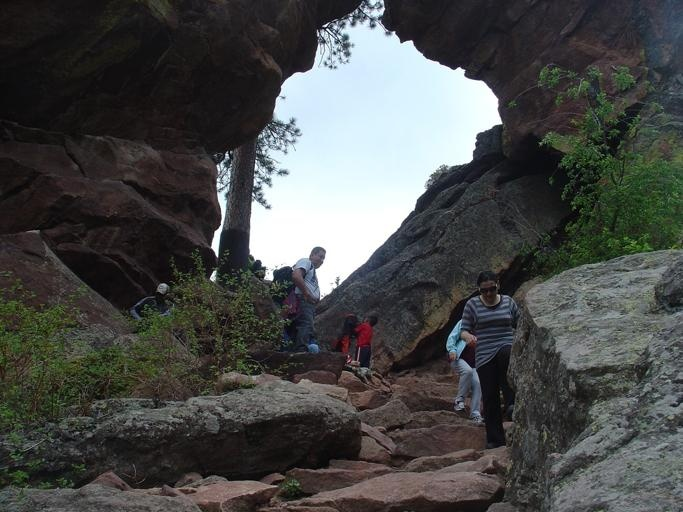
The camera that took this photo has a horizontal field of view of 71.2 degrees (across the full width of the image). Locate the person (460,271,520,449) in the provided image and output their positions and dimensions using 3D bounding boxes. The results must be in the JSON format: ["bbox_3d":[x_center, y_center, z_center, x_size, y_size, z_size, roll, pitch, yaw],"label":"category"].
[{"bbox_3d":[1.821,1.157,5.615,0.744,2.075,0.759,-3,-24,12],"label":"person"}]

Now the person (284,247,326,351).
[{"bbox_3d":[-0.691,0.960,9.109,0.575,1.591,1.014,-1,-31,-7],"label":"person"}]

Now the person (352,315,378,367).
[{"bbox_3d":[0.561,1.992,11.022,0.504,0.532,1.554,-5,16,15],"label":"person"}]
